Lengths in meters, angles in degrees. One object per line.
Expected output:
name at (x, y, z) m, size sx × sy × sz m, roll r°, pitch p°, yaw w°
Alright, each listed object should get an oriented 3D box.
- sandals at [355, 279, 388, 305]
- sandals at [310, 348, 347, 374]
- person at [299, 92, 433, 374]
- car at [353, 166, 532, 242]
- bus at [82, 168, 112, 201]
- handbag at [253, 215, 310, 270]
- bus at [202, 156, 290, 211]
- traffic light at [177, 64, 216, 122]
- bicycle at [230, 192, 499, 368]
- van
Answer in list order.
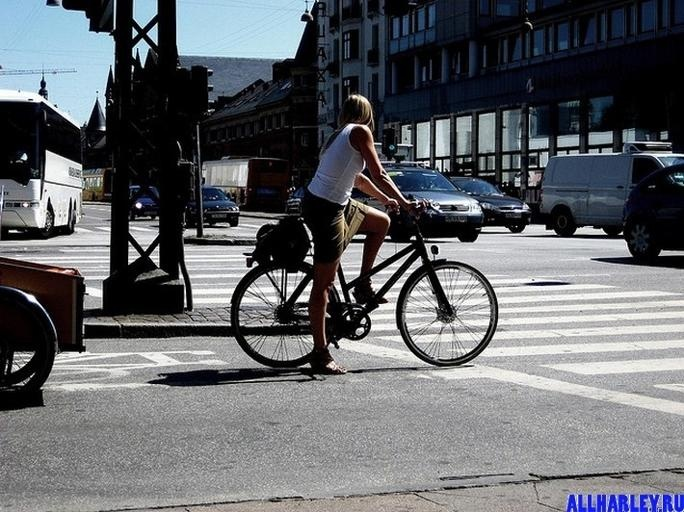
sandals at (0.232, 0.300, 6.836) m, size 0.262 × 0.295 × 0.148 m, roll -7°, pitch 6°, yaw -2°
sandals at (-0.153, 0.864, 6.763) m, size 0.372 × 0.305 × 0.144 m, roll 1°, pitch 3°, yaw -2°
person at (0.070, -0.167, 6.623) m, size 0.778 × 2.275 × 0.575 m, roll -1°, pitch 3°, yaw -6°
car at (2.623, -2.002, 24.199) m, size 2.506 × 2.106 × 5.688 m, roll 0°, pitch 0°, yaw -27°
bus at (-29.731, -8.699, 97.941) m, size 2.638 × 4.041 × 18.757 m, roll -1°, pitch 5°, yaw -19°
handbag at (-0.481, -0.109, 6.816) m, size 0.461 × 0.388 × 0.325 m, roll -20°, pitch 1°, yaw 35°
bus at (-7.568, -5.760, 64.597) m, size 3.392 × 3.990 × 12.109 m, roll 0°, pitch 4°, yaw -19°
traffic light at (-1.683, -1.849, 9.353) m, size 0.520 × 0.821 × 0.434 m, roll 0°, pitch 3°, yaw -4°
bicycle at (0.227, 0.297, 6.895) m, size 2.244 × 1.576 × 1.176 m, roll -2°, pitch 2°, yaw -2°
van at (8.484, -2.104, 25.258) m, size 2.375 × 2.567 × 4.425 m, roll 1°, pitch -1°, yaw -36°
